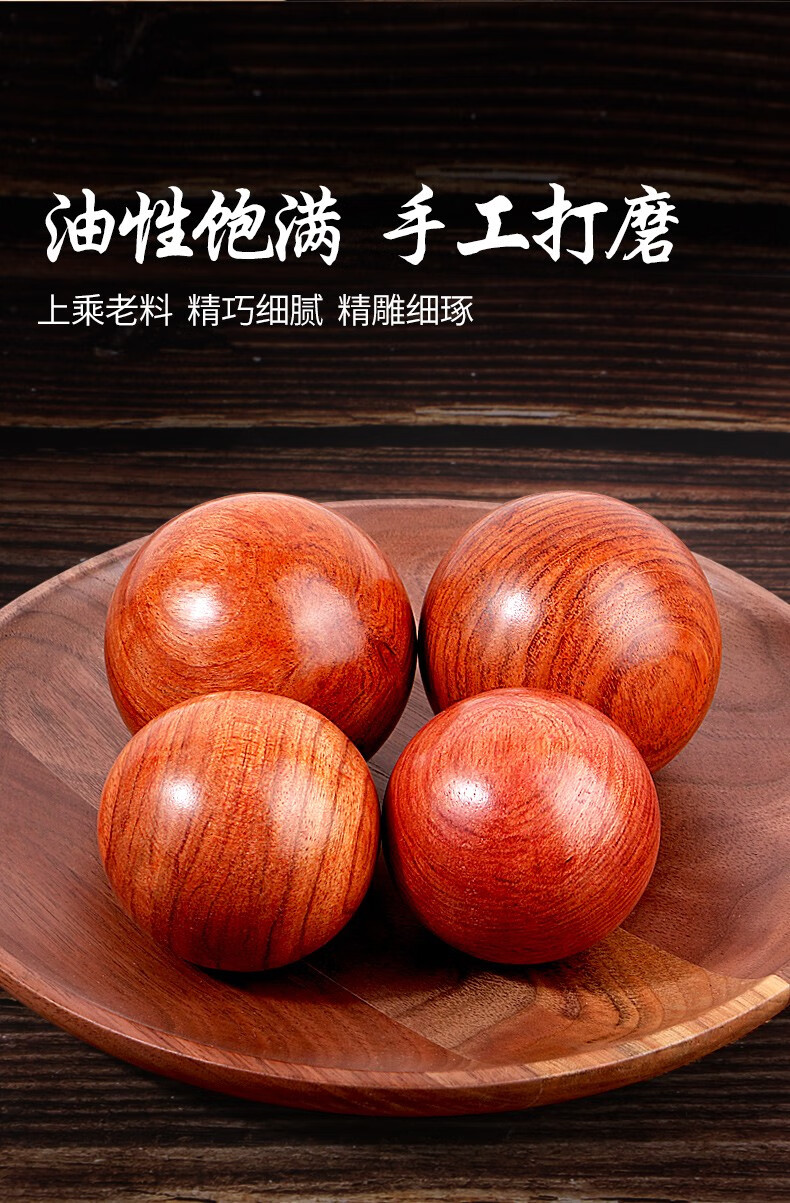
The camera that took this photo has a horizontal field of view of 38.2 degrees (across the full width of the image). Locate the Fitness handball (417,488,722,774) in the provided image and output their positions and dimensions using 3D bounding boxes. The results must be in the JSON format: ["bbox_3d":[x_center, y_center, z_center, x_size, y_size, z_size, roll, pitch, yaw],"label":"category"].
[{"bbox_3d":[0.063,-0.002,0.675,0.175,0.175,0.154,-3,18,-5],"label":"Fitness handball"}]

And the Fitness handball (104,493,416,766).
[{"bbox_3d":[-0.059,0.009,0.673,0.186,0.195,0.159,-4,53,-2],"label":"Fitness handball"}]

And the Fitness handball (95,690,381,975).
[{"bbox_3d":[-0.066,0.115,0.564,0.140,0.149,0.114,-2,66,-2],"label":"Fitness handball"}]
